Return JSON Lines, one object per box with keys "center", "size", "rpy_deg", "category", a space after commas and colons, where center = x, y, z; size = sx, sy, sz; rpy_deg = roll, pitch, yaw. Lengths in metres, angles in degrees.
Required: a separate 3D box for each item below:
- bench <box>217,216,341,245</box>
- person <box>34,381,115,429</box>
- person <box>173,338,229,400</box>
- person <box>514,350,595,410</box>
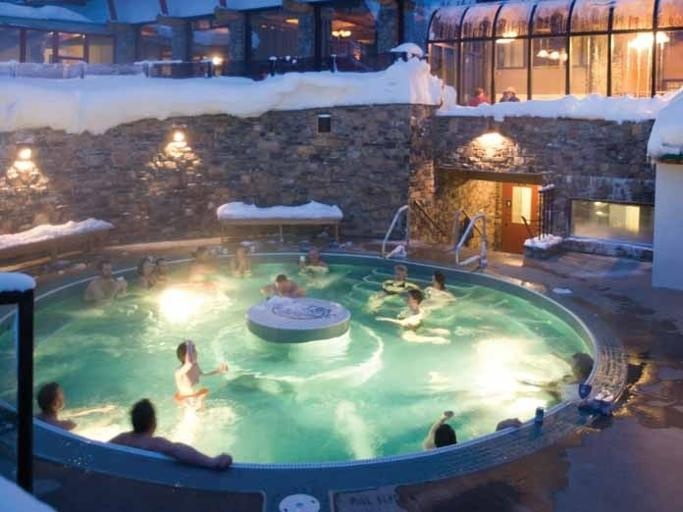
{"center": [-1.680, -0.818, 14.966], "size": [3.270, 0.681, 1.393], "rpy_deg": [0, 15, -1], "category": "bench"}
{"center": [-3.178, 1.853, 6.721], "size": [0.668, 0.455, 1.008], "rpy_deg": [8, 5, 38], "category": "person"}
{"center": [-2.103, 1.737, 8.288], "size": [0.471, 1.053, 0.685], "rpy_deg": [2, 13, 19], "category": "person"}
{"center": [3.089, 1.692, 7.737], "size": [0.809, 0.549, 0.723], "rpy_deg": [3, 15, 13], "category": "person"}
